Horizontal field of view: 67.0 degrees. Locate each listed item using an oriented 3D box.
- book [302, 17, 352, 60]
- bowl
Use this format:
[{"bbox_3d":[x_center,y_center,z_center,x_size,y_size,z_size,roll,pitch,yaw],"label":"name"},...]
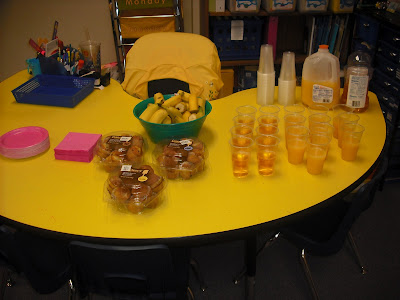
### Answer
[{"bbox_3d":[1.445,-1.350,3.537,0.408,0.594,0.429,4,27,11],"label":"book"},{"bbox_3d":[-0.122,-0.144,1.627,0.324,0.122,0.334,-6,24,3],"label":"bowl"}]
